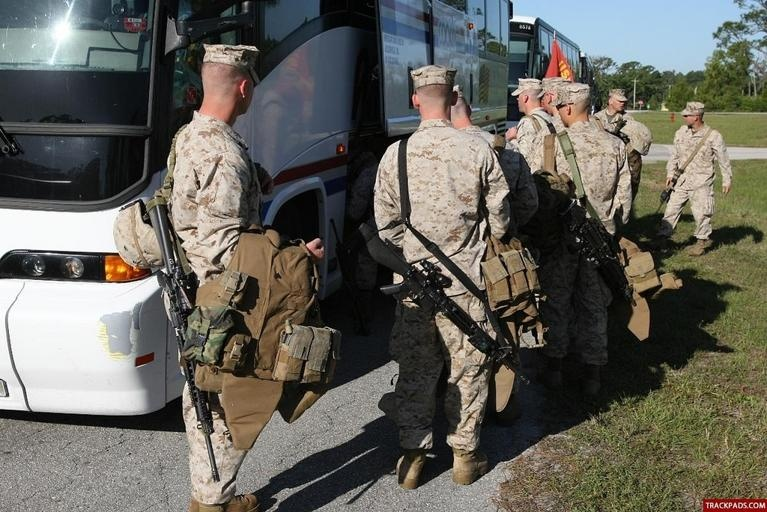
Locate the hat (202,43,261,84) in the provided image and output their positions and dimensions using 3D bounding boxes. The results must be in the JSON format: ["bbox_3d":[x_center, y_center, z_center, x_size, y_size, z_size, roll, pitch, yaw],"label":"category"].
[{"bbox_3d":[-0.923,-1.234,4.399,0.372,0.178,0.294,23,-6,-17],"label":"hat"}]

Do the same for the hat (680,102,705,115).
[{"bbox_3d":[4.652,-2.207,10.636,0.268,0.183,0.337,-19,21,-41],"label":"hat"}]

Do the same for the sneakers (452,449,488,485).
[{"bbox_3d":[0.620,1.535,5.084,0.127,0.251,0.256,16,35,35],"label":"sneakers"}]

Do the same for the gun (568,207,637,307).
[{"bbox_3d":[1.880,0.028,6.112,0.347,0.886,0.207,-36,25,4],"label":"gun"}]

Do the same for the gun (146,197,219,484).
[{"bbox_3d":[-1.237,0.510,4.341,0.219,1.691,0.710,-8,18,-24],"label":"gun"}]

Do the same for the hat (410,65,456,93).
[{"bbox_3d":[0.352,-1.256,4.958,0.296,0.167,0.185,0,17,1],"label":"hat"}]

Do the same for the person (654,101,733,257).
[{"bbox_3d":[4.700,-1.176,10.550,0.884,2.165,1.227,6,18,23],"label":"person"}]

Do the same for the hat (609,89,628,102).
[{"bbox_3d":[3.300,-2.265,9.912,0.169,0.097,0.240,6,13,1],"label":"hat"}]
